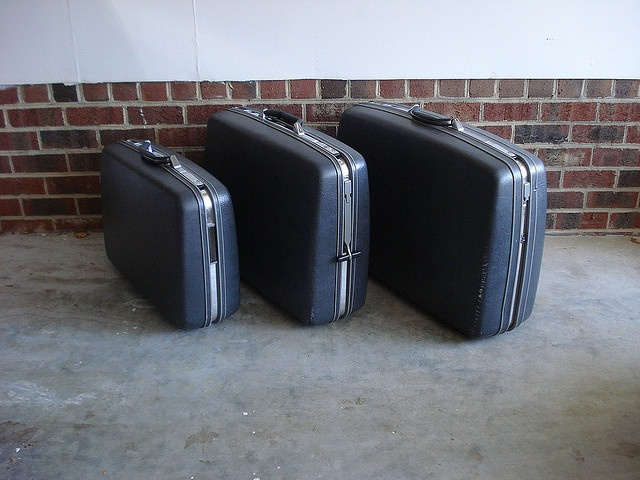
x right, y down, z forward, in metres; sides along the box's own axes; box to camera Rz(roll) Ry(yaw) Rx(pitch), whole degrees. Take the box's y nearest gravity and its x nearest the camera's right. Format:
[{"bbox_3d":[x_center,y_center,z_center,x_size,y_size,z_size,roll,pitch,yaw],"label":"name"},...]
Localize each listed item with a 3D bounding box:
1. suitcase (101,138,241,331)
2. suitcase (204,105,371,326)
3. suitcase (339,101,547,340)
[{"bbox_3d":[-0.535,-0.007,2.002,0.238,0.477,0.637,-22,36,-36],"label":"suitcase"},{"bbox_3d":[-0.116,-0.063,2.000,0.272,0.578,0.725,-20,31,-33],"label":"suitcase"},{"bbox_3d":[0.452,-0.138,2.236,0.373,0.734,0.951,-19,32,-25],"label":"suitcase"}]
